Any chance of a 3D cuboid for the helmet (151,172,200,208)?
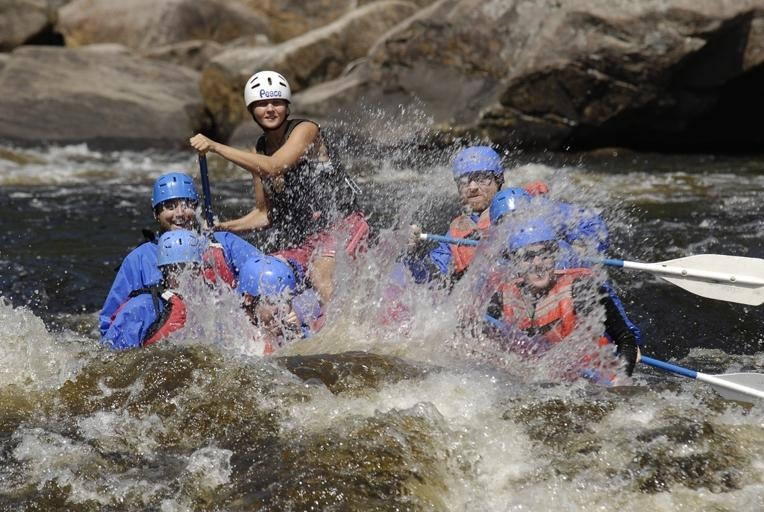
[{"bbox_3d":[-2.589,-0.853,15.002,0.429,0.489,0.388,1,7,-6],"label":"helmet"}]
